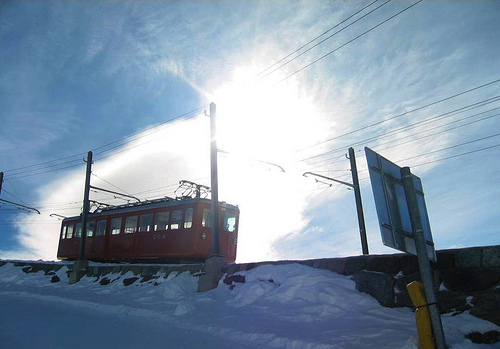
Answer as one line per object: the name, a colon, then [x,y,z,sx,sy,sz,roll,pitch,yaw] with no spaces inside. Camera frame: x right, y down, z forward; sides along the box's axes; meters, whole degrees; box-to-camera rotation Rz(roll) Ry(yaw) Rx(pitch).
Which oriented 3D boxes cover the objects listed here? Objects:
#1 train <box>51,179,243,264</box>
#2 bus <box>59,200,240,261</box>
train: [-6.761,3.359,19.046,11.456,4.338,3.101,-10,-21,27]
bus: [-6.853,3.733,19.026,11.956,3.961,3.116,-10,-18,30]
